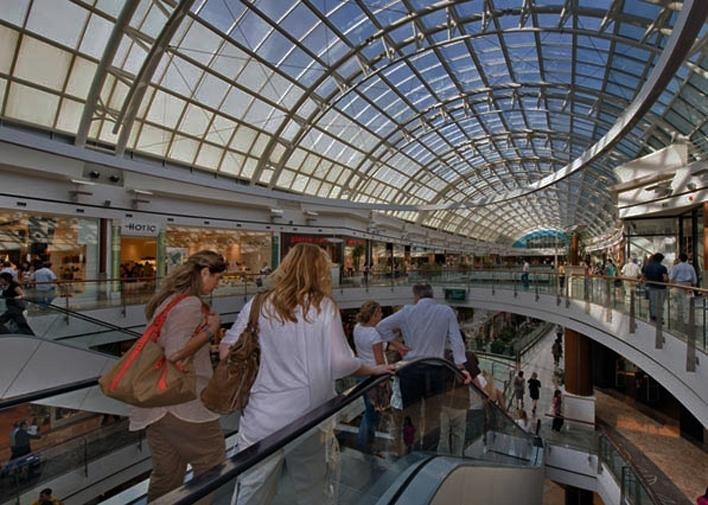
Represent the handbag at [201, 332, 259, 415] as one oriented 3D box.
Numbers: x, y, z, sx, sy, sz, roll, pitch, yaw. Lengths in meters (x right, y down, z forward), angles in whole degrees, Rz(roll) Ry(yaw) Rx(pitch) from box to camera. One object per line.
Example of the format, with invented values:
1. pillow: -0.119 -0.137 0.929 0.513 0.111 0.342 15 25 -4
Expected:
1. handbag: -1.440 1.340 5.125 0.585 1.100 0.854 11 17 -7
